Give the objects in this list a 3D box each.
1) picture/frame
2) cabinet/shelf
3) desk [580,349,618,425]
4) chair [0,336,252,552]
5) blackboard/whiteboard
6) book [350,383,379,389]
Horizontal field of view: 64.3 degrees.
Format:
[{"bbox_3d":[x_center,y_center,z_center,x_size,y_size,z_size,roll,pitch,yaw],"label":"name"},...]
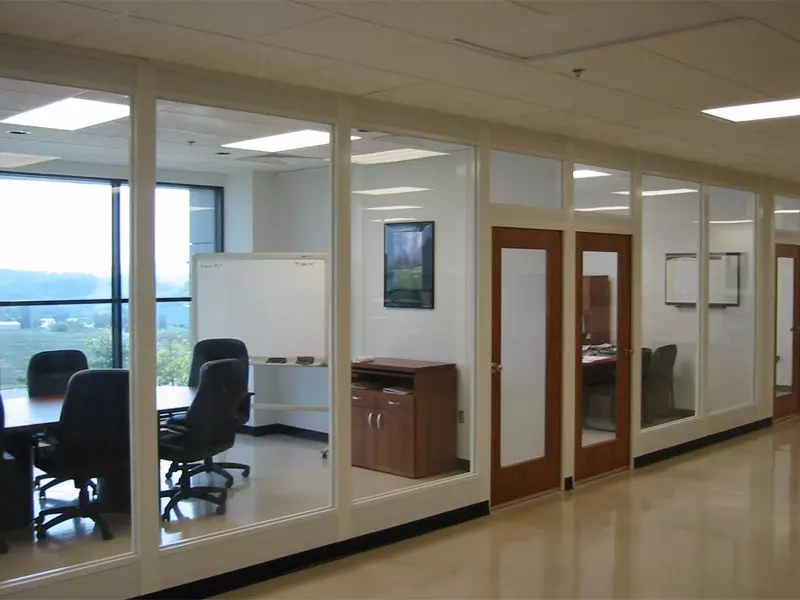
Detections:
[{"bbox_3d":[0.054,-0.284,4.942,0.400,0.670,0.047,1,0,7],"label":"picture/frame"},{"bbox_3d":[-0.016,0.952,5.281,0.873,0.805,0.573,-3,-2,42],"label":"cabinet/shelf"},{"bbox_3d":[1.887,0.834,6.125,0.260,0.698,0.756,0,0,37],"label":"desk"},{"bbox_3d":[-1.848,0.763,4.222,1.033,0.887,1.381,-1,-1,38],"label":"chair"},{"bbox_3d":[-0.985,0.078,4.481,0.792,0.671,0.166,0,2,-10],"label":"blackboard/whiteboard"},{"bbox_3d":[-0.274,0.626,4.674,0.171,0.056,0.007,9,-3,-43],"label":"book"}]
